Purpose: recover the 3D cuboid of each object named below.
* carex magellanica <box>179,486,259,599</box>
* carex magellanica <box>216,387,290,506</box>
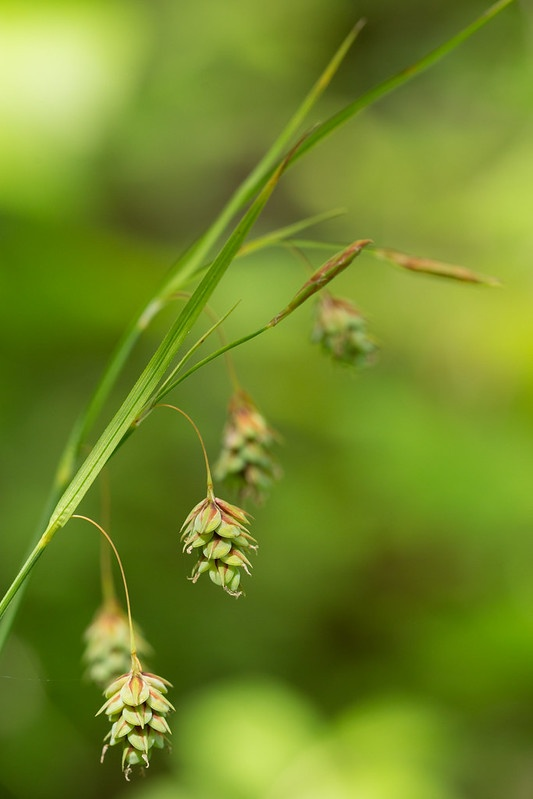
[{"bbox_3d":[-0.059,0.170,0.934,0.079,0.072,0.098,-7,-86,8],"label":"carex magellanica"},{"bbox_3d":[-0.021,0.089,1.290,0.105,0.137,0.178,9,-58,10],"label":"carex magellanica"}]
